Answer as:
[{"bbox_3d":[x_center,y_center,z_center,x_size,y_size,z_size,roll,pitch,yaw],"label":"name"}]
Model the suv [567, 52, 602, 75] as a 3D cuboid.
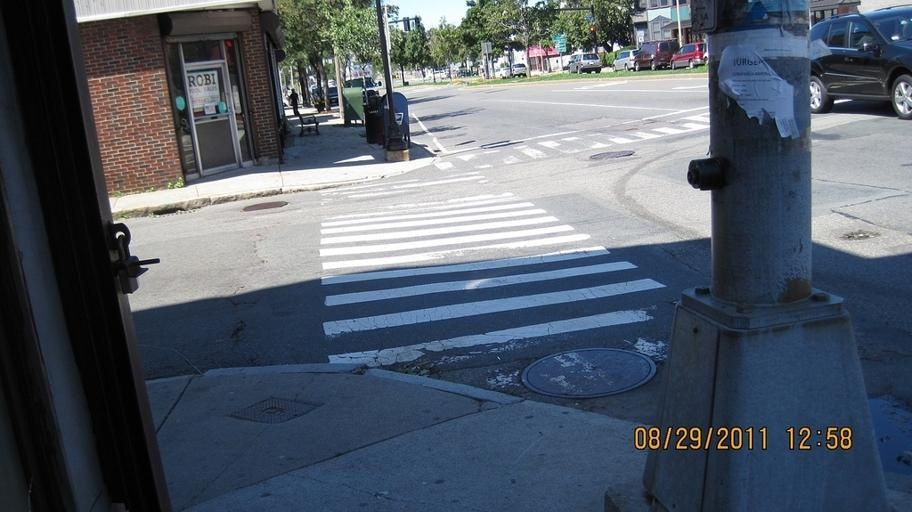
[{"bbox_3d":[12.464,-18.624,66.854,2.341,1.513,4.447,-2,18,-3],"label":"suv"}]
